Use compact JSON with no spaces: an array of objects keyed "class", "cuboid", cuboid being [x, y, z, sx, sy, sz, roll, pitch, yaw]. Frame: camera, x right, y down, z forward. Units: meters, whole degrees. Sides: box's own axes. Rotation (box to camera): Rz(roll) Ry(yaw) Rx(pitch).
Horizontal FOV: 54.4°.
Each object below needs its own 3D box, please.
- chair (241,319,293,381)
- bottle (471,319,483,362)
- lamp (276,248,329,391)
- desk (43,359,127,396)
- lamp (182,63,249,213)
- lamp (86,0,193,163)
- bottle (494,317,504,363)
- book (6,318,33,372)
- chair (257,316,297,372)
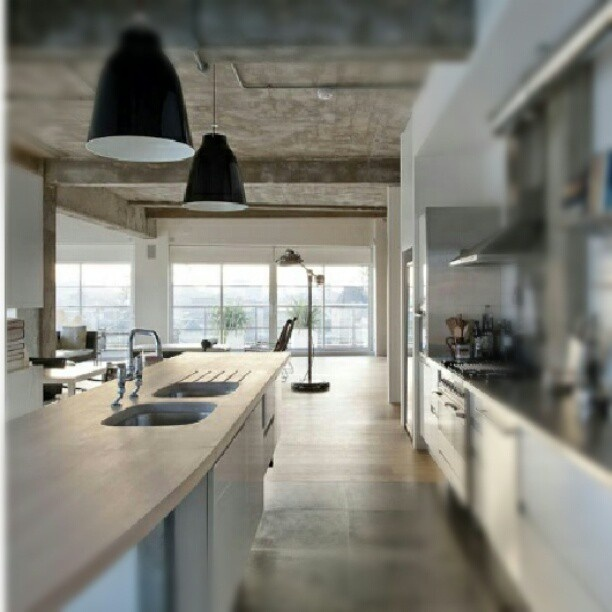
[{"class":"chair","cuboid":[-0.436,0.515,7.293,0.516,1.034,0.477,2,-1,1]},{"class":"bottle","cuboid":[1.012,0.199,3.541,0.063,0.230,0.172,-3,-1,17]},{"class":"lamp","cuboid":[-0.014,0.152,6.804,0.465,1.619,0.407,-1,-2,-10]},{"class":"desk","cuboid":[-1.957,0.624,5.030,0.450,0.220,0.882,-5,-2,-15]},{"class":"lamp","cuboid":[-0.389,-0.690,2.528,0.219,0.574,0.249,0,-9,-29]},{"class":"lamp","cuboid":[-0.407,-0.524,1.518,0.251,0.373,0.299,1,1,-6]},{"class":"bottle","cuboid":[1.113,0.200,3.464,0.037,0.240,0.169,-3,-1,16]},{"class":"book","cuboid":[-2.065,0.284,4.302,0.180,0.414,0.363,0,1,-18]},{"class":"chair","cuboid":[-0.317,0.469,7.264,0.508,1.019,0.515,0,-1,-2]}]
